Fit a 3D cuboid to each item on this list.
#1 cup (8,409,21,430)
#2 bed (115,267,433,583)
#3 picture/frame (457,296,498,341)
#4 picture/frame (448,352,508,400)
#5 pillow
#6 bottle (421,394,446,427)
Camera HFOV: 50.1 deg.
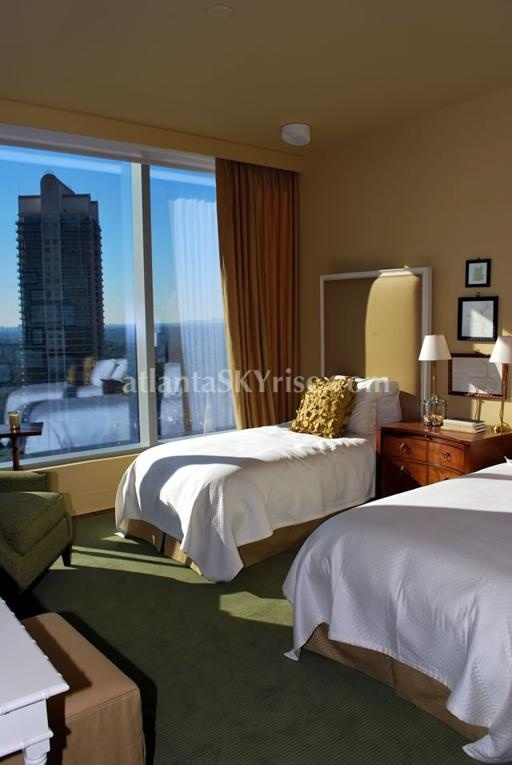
[{"bbox_3d":[-1.652,0.259,3.744,0.059,0.126,0.093,-4,4,-33],"label":"cup"},{"bbox_3d":[-0.082,-0.046,4.518,2.539,2.448,1.688,-9,13,-42],"label":"bed"},{"bbox_3d":[1.610,-0.468,3.943,0.024,0.363,0.327,-4,8,-33],"label":"picture/frame"},{"bbox_3d":[1.616,-0.058,3.943,0.026,0.280,0.331,-6,7,-35],"label":"picture/frame"},{"bbox_3d":[0.860,0.169,4.442,0.453,0.433,0.617,-4,0,-27],"label":"pillow"},{"bbox_3d":[1.263,0.195,3.883,0.185,0.266,0.198,0,0,0],"label":"bottle"}]
